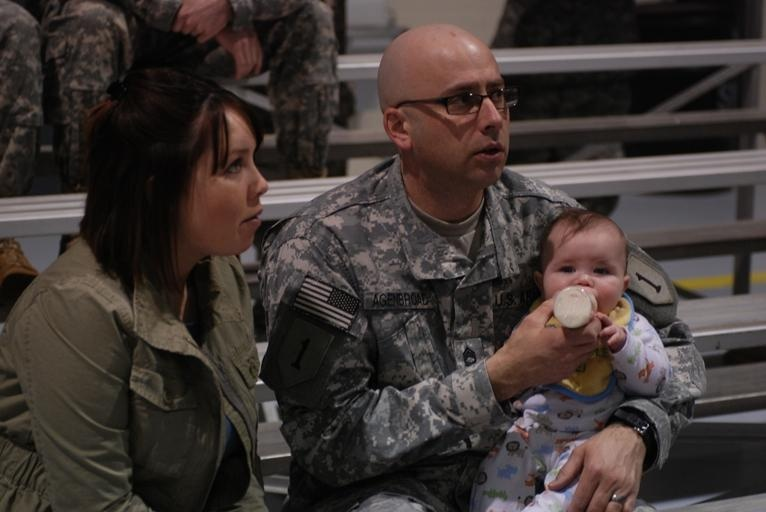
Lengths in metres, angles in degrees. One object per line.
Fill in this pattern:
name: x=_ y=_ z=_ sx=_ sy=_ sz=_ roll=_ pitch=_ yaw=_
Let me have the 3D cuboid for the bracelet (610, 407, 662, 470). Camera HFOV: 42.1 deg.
bracelet: x=0.833 y=0.577 z=3.264 sx=0.168 sy=0.199 sz=0.071 roll=-5 pitch=4 yaw=32

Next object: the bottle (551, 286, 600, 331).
bottle: x=0.623 y=0.190 z=3.211 sx=0.126 sy=0.128 sz=0.094 roll=44 pitch=7 yaw=31
